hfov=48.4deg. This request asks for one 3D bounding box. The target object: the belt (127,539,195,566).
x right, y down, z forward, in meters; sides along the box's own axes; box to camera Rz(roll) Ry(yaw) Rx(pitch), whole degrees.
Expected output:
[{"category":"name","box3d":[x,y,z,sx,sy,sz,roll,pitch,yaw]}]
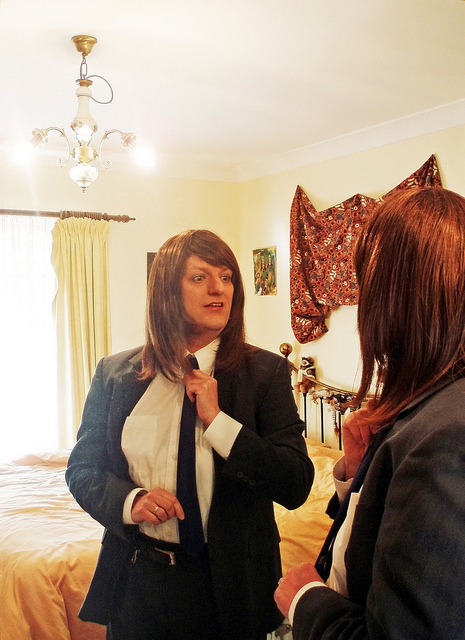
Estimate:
[{"category":"belt","box3d":[-0.153,0.466,1.033,0.156,0.038,0.028,0,4,26]}]

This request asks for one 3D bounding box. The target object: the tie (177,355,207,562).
[{"category":"tie","box3d":[-0.086,0.279,1.041,0.053,0.391,0.148,-2,4,-4]}]

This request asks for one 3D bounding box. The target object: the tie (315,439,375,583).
[{"category":"tie","box3d":[0.136,0.334,0.833,0.055,0.388,0.054,14,41,2]}]

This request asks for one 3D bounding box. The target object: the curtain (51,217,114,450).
[{"category":"curtain","box3d":[-1.082,-0.080,3.723,0.377,2.062,0.566,-1,6,-23]}]
